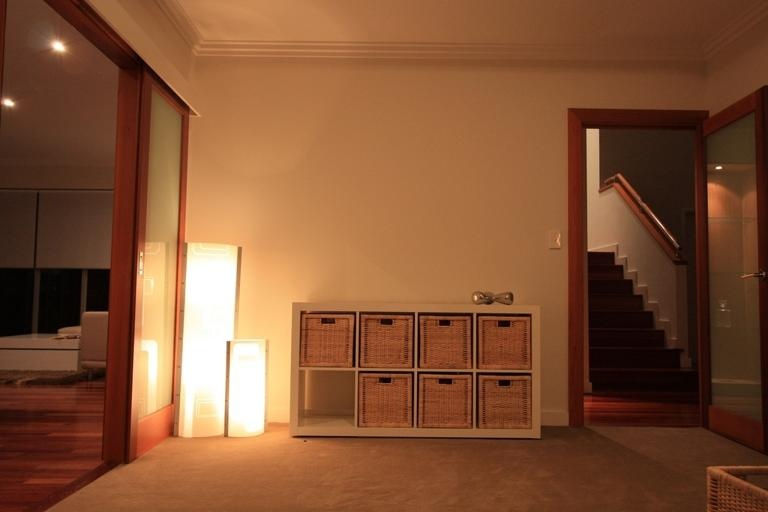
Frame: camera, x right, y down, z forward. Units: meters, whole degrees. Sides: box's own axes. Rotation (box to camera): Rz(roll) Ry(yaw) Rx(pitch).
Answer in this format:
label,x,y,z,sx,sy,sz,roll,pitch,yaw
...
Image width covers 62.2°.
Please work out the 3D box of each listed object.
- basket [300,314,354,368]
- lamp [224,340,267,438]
label,x,y,z,sx,sy,sz,roll,pitch,yaw
basket,-0.467,0.728,5.780,0.625,0.666,0.401,0,-7,0
lamp,-1.216,1.083,5.765,0.395,0.816,0.434,1,11,-6
